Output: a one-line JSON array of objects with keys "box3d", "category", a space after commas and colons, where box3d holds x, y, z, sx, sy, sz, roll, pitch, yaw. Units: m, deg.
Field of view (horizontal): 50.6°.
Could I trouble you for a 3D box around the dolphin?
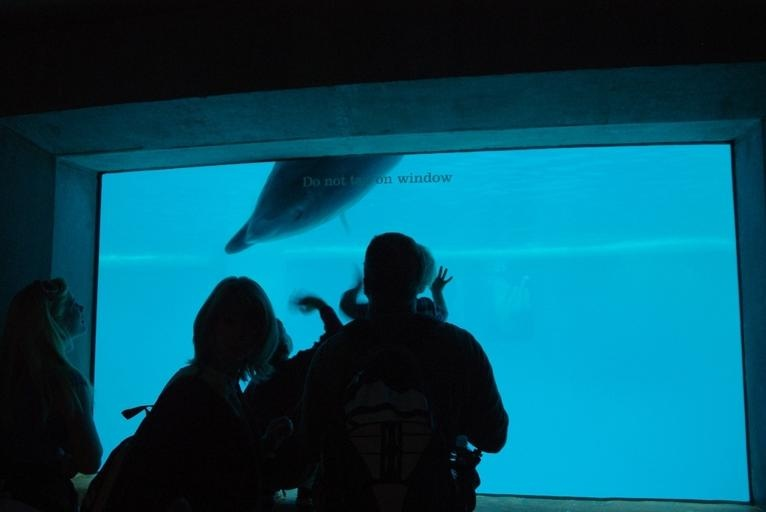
[{"box3d": [-0.485, -0.357, 4.883, 0.519, 0.567, 1.145, 8, 10, 42], "category": "dolphin"}]
